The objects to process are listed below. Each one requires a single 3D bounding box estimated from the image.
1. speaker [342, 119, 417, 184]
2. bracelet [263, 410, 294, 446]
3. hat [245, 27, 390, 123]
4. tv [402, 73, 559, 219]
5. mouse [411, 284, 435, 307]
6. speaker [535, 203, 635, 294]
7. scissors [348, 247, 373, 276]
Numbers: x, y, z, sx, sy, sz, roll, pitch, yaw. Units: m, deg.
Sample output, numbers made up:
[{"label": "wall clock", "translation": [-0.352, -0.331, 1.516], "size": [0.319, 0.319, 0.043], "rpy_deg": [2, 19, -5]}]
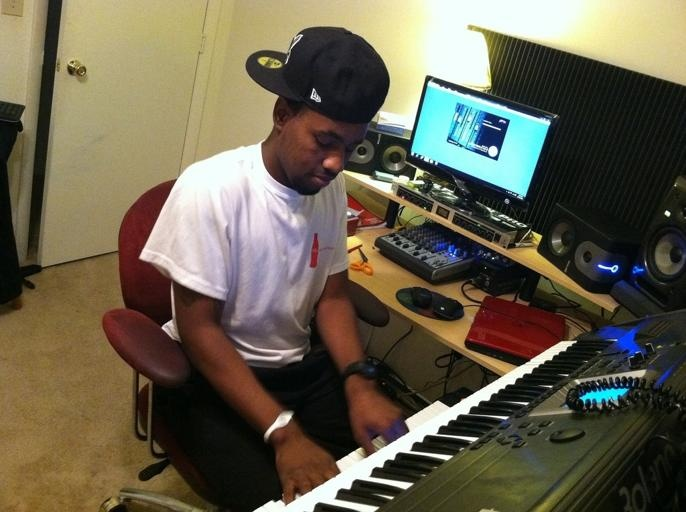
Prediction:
[{"label": "speaker", "translation": [0.170, -0.518, 2.756], "size": [0.476, 0.338, 0.283], "rpy_deg": [3, 20, -8]}, {"label": "bracelet", "translation": [-0.171, 0.445, 1.389], "size": [0.088, 0.089, 0.055], "rpy_deg": [-33, 71, -19]}, {"label": "hat", "translation": [-0.095, -0.492, 1.474], "size": [0.362, 0.189, 0.256], "rpy_deg": [28, 48, 1]}, {"label": "tv", "translation": [0.637, -0.487, 2.356], "size": [0.585, 0.422, 0.152], "rpy_deg": [34, 36, 26]}, {"label": "mouse", "translation": [0.308, 0.165, 2.061], "size": [0.081, 0.049, 0.085], "rpy_deg": [8, 30, -8]}, {"label": "speaker", "translation": [0.948, -0.039, 2.070], "size": [0.334, 0.224, 0.339], "rpy_deg": [8, 21, -27]}, {"label": "scissors", "translation": [0.075, 0.023, 2.284], "size": [0.077, 0.041, 0.130], "rpy_deg": [-22, 35, -26]}]
